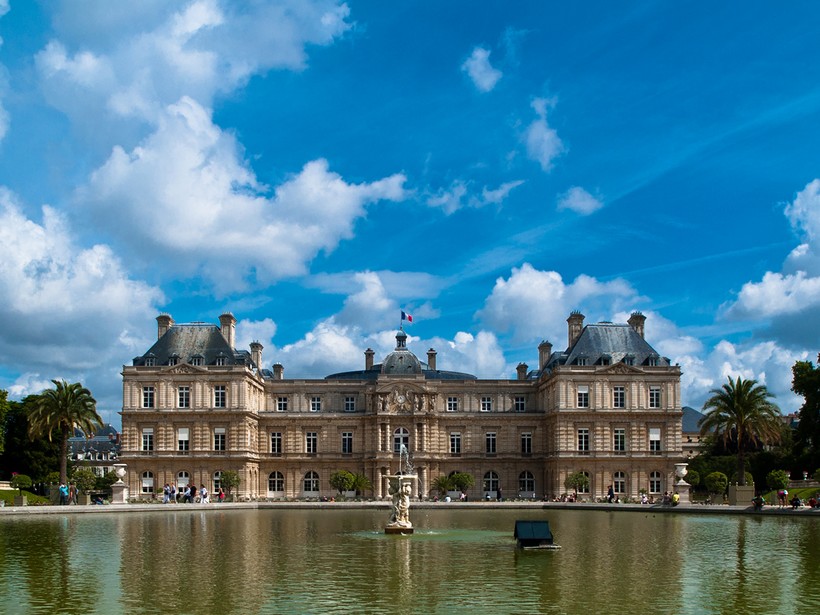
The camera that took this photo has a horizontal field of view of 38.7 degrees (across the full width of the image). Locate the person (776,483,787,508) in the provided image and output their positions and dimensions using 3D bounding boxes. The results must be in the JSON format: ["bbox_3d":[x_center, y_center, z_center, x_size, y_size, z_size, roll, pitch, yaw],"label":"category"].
[{"bbox_3d":[27.915,14.349,87.337,0.520,1.362,2.304,-5,-13,20],"label":"person"}]

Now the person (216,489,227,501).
[{"bbox_3d":[-17.683,17.814,109.921,0.790,1.861,0.815,6,-34,-19],"label":"person"}]

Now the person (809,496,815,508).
[{"bbox_3d":[29.234,14.217,84.542,0.426,0.758,1.591,-4,-13,17],"label":"person"}]

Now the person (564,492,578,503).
[{"bbox_3d":[15.860,18.617,114.545,1.110,0.973,3.188,-4,-13,14],"label":"person"}]
